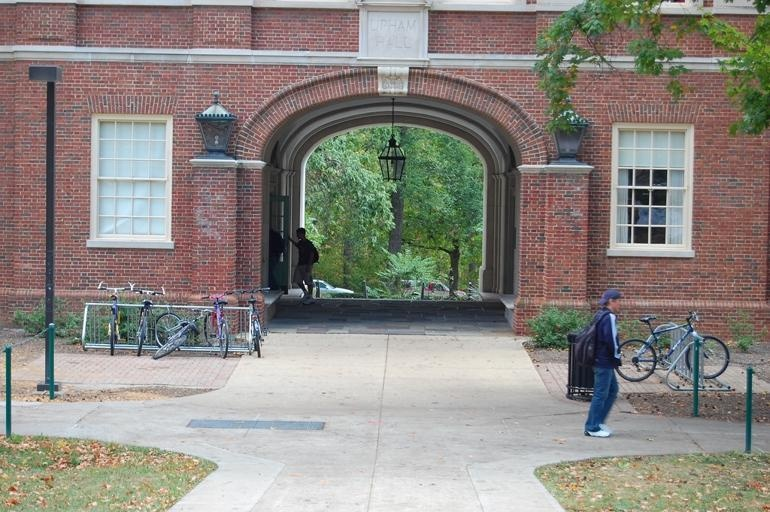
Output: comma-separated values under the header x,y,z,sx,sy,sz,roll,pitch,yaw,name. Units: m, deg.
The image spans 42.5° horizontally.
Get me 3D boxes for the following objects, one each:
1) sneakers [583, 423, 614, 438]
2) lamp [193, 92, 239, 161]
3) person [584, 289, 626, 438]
x,y,z,sx,sy,sz,roll,pitch,yaw,name
3.521,2.871,16.249,0.355,0.128,0.203,-2,3,2,sneakers
-3.910,-3.059,22.833,0.889,1.487,0.386,1,9,-2,lamp
3.640,1.762,16.372,0.513,2.335,0.833,3,9,12,person
